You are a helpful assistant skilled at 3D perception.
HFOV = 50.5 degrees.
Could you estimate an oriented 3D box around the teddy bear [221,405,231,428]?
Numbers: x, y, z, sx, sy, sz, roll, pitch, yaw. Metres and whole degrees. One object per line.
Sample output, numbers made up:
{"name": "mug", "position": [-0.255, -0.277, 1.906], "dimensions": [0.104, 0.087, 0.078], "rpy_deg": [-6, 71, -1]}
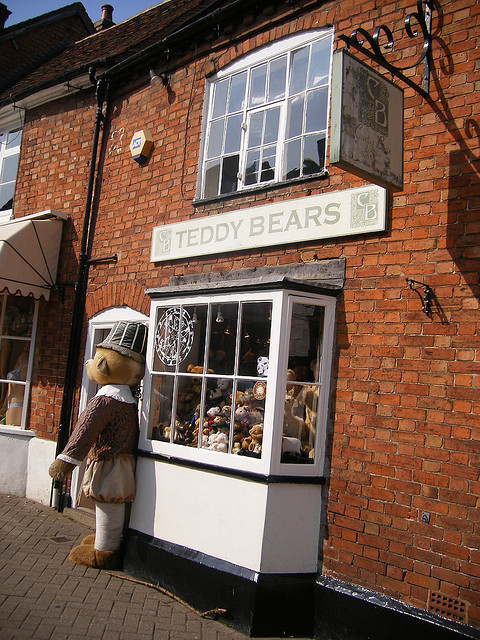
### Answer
{"name": "teddy bear", "position": [-0.116, 0.756, 4.037], "dimensions": [0.030, 0.145, 0.115], "rpy_deg": [10, -10, -30]}

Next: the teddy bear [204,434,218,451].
{"name": "teddy bear", "position": [-0.238, 0.991, 4.077], "dimensions": [0.071, 0.067, 0.136], "rpy_deg": [2, 0, 16]}

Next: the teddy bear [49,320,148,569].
{"name": "teddy bear", "position": [-1.285, 1.091, 4.662], "dimensions": [0.738, 2.257, 0.498], "rpy_deg": [8, -9, -22]}

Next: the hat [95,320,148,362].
{"name": "hat", "position": [-1.113, 0.192, 5.120], "dimensions": [0.530, 0.354, 0.589], "rpy_deg": [18, -7, -9]}

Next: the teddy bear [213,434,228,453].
{"name": "teddy bear", "position": [-0.171, 0.983, 4.043], "dimensions": [0.042, 0.148, 0.154], "rpy_deg": [12, -11, -40]}

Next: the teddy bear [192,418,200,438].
{"name": "teddy bear", "position": [-0.371, 0.921, 4.273], "dimensions": [0.046, 0.129, 0.094], "rpy_deg": [10, -5, -8]}

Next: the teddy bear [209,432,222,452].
{"name": "teddy bear", "position": [-0.207, 0.980, 4.118], "dimensions": [0.045, 0.124, 0.098], "rpy_deg": [8, -10, -21]}

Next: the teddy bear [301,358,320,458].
{"name": "teddy bear", "position": [0.511, 0.645, 3.749], "dimensions": [0.110, 0.727, 0.057], "rpy_deg": [3, -9, 11]}

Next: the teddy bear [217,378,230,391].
{"name": "teddy bear", "position": [-0.139, 0.516, 4.086], "dimensions": [0.026, 0.092, 0.149], "rpy_deg": [11, -10, -35]}

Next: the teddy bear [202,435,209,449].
{"name": "teddy bear", "position": [-0.292, 1.006, 4.181], "dimensions": [0.025, 0.082, 0.084], "rpy_deg": [9, -5, -36]}

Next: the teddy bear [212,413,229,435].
{"name": "teddy bear", "position": [-0.155, 0.834, 4.072], "dimensions": [0.099, 0.153, 0.151], "rpy_deg": [4, -24, 32]}

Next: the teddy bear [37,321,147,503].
{"name": "teddy bear", "position": [-1.285, 0.815, 4.694], "dimensions": [0.770, 1.696, 0.498], "rpy_deg": [8, -9, -22]}

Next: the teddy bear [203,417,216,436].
{"name": "teddy bear", "position": [-0.265, 0.888, 4.177], "dimensions": [0.136, 0.124, 0.104], "rpy_deg": [11, -6, 6]}

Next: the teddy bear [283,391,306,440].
{"name": "teddy bear", "position": [0.367, 0.720, 3.800], "dimensions": [0.191, 0.372, 0.134], "rpy_deg": [10, -14, -40]}
